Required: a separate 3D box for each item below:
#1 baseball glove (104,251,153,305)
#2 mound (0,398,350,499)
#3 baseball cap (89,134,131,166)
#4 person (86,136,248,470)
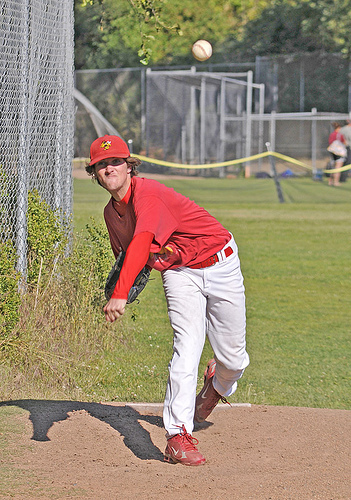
[{"bbox_3d":[-0.270,0.157,4.784,0.213,0.296,0.087,20,6,5],"label":"baseball glove"},{"bbox_3d":[0.031,1.135,5.060,2.004,0.104,1.483,2,9,-11],"label":"mound"},{"bbox_3d":[-0.352,-0.535,4.711,0.220,0.150,0.281,-11,6,16],"label":"baseball cap"},{"bbox_3d":[-0.029,0.271,4.908,1.114,1.737,0.663,-3,11,-33],"label":"person"}]
